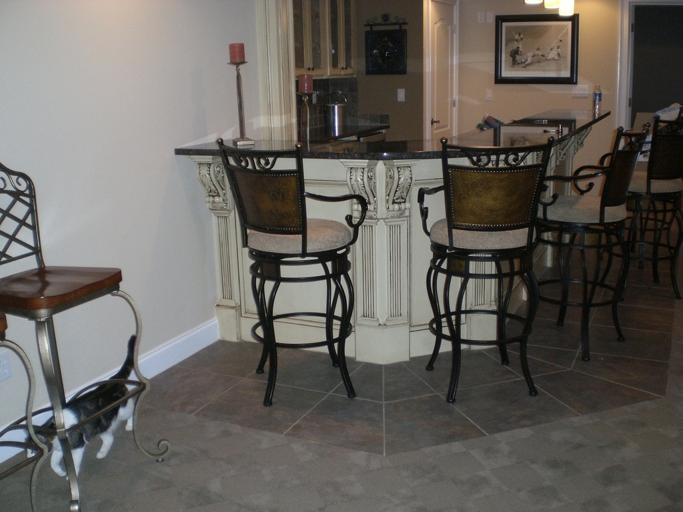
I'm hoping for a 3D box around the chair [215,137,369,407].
[{"bbox_3d":[-0.245,0.033,3.263,0.762,1.464,0.731,-6,19,-12],"label":"chair"}]

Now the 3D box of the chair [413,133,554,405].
[{"bbox_3d":[0.784,0.021,3.251,0.691,1.443,0.868,1,19,11],"label":"chair"}]

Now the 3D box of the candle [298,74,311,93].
[{"bbox_3d":[-0.280,-1.340,4.434,0.095,0.144,0.252,-2,19,2],"label":"candle"}]

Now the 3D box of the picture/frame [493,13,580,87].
[{"bbox_3d":[2.592,-2.721,7.410,0.934,0.826,0.080,3,10,18],"label":"picture/frame"}]

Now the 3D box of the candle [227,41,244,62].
[{"bbox_3d":[-0.673,-1.300,3.648,0.097,0.131,0.104,-6,19,-10],"label":"candle"}]

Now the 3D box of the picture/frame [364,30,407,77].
[{"bbox_3d":[0.549,-2.454,6.807,0.498,0.507,0.058,7,15,29],"label":"picture/frame"}]
